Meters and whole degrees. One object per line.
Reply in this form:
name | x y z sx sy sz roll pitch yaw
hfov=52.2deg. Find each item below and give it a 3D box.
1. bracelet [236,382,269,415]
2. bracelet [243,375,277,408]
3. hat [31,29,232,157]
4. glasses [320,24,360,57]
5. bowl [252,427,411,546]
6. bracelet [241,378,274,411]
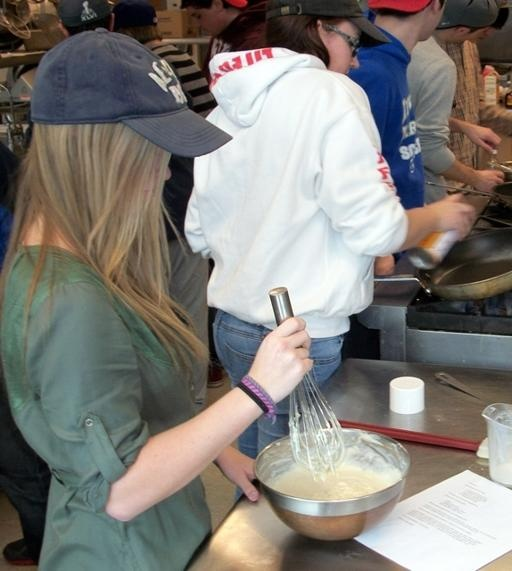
bracelet | 0.001 0.166 0.788 0.044 0.039 0.018 39 78 23
bracelet | 0.001 0.166 0.774 0.045 0.061 0.021 -2 15 25
hat | -0.191 -0.280 0.823 0.308 0.137 0.182 9 23 1
glasses | 0.207 -0.605 1.295 0.059 0.016 0.054 28 9 -6
bowl | 0.126 0.286 0.738 0.185 0.073 0.170 -2 10 0
bracelet | 0.002 0.162 0.767 0.020 0.044 0.050 -45 51 -10
